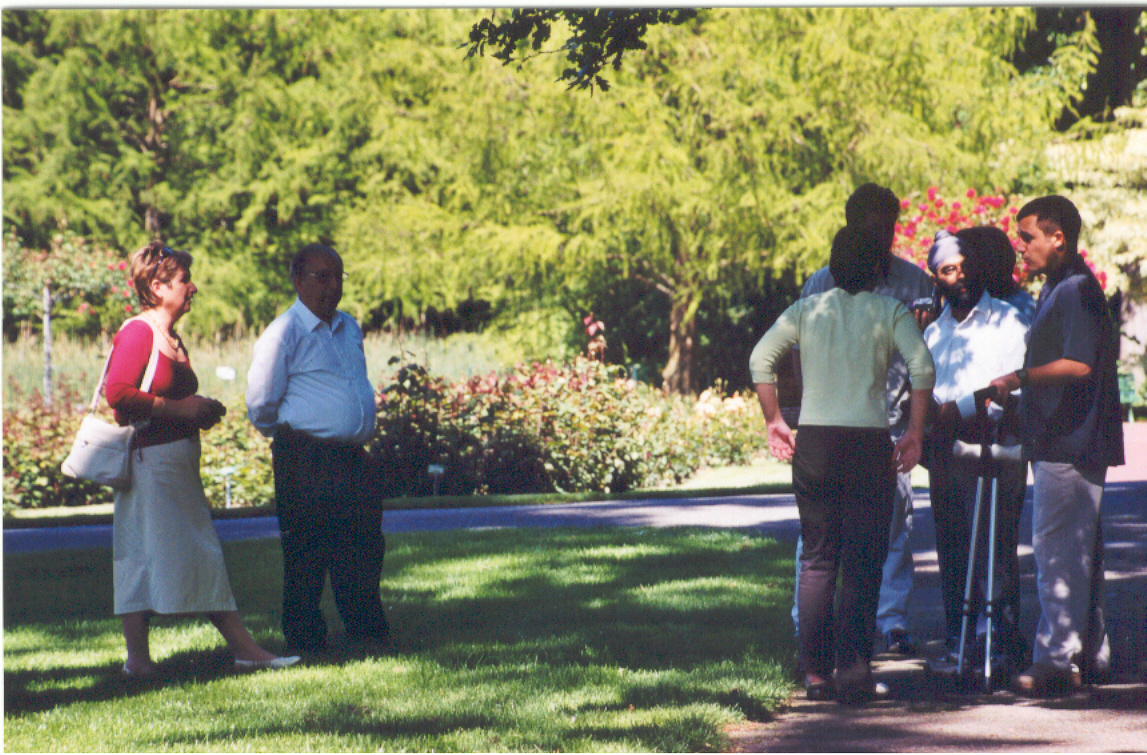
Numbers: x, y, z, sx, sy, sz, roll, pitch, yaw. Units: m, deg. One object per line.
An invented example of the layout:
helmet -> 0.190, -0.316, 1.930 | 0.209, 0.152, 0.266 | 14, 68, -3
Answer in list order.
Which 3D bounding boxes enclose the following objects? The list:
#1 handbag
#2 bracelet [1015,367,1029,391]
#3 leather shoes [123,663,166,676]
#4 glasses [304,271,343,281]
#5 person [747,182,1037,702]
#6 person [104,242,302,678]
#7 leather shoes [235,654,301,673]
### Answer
handbag -> -3.461, 0.206, 13.508 | 0.625, 1.265, 1.289 | 1, -7, -25
bracelet -> 3.198, -0.010, 13.038 | 0.085, 0.115, 0.042 | 0, -4, -4
leather shoes -> -3.150, 2.165, 13.445 | 0.319, 0.132, 0.100 | -4, 6, 3
glasses -> -1.854, -0.780, 13.765 | 0.299, 0.087, 0.082 | 1, -7, -26
person -> 1.968, 0.417, 13.362 | 1.289, 3.748, 0.927 | -3, -5, 7
person -> -2.968, 0.583, 13.338 | 0.860, 3.153, 0.488 | -1, -5, -12
leather shoes -> -2.260, 2.130, 13.545 | 0.369, 0.088, 0.173 | -1, -5, -1
